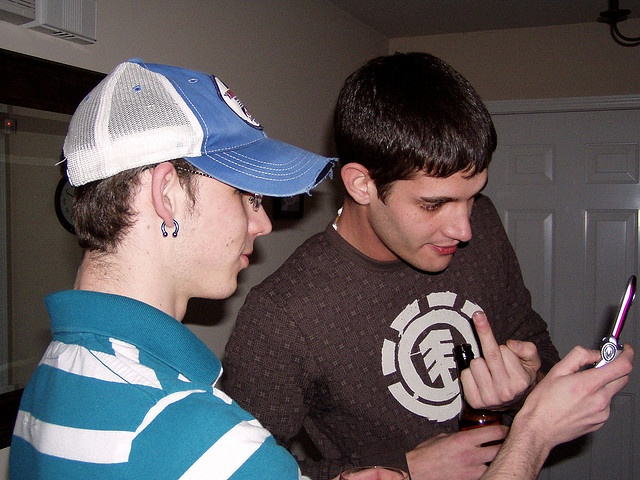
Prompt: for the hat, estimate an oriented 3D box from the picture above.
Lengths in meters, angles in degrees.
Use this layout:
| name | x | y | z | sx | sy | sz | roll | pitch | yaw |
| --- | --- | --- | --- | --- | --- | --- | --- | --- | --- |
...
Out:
| name | x | y | z | sx | sy | sz | roll | pitch | yaw |
| --- | --- | --- | --- | --- | --- | --- | --- | --- | --- |
| hat | -0.309 | -0.266 | 1.439 | 0.610 | 0.310 | 0.436 | -5 | 12 | -16 |
